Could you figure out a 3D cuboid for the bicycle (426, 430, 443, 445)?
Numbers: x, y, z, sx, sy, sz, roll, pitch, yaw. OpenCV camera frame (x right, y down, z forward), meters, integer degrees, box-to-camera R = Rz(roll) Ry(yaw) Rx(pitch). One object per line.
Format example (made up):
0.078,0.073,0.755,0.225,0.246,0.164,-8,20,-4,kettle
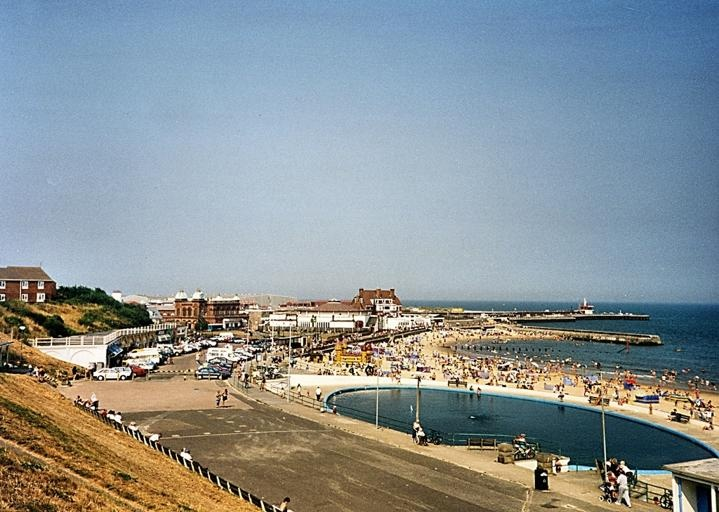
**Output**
6.314,15.563,64.681,1.967,1.191,1.082,-3,-2,35,bicycle

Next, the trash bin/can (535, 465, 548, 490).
13.041,15.856,53.415,0.981,1.509,0.871,-4,-7,13,trash bin/can

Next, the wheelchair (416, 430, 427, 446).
5.411,15.359,63.505,1.101,1.144,0.846,-1,-7,-14,wheelchair

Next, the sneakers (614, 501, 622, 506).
17.721,16.814,51.110,0.168,0.210,0.473,0,6,-24,sneakers
